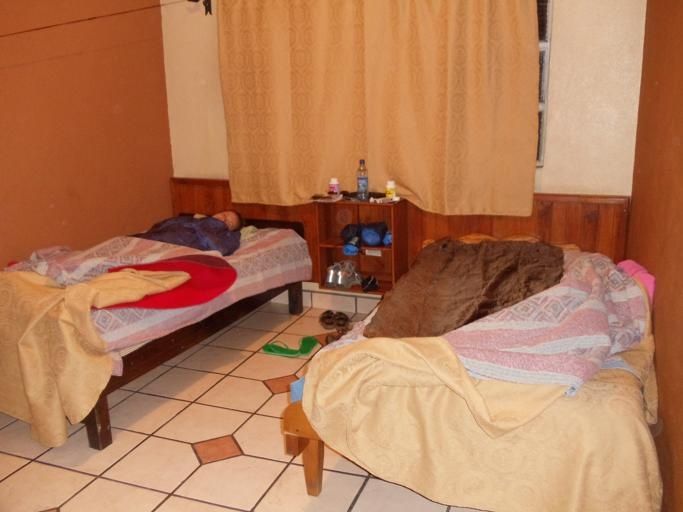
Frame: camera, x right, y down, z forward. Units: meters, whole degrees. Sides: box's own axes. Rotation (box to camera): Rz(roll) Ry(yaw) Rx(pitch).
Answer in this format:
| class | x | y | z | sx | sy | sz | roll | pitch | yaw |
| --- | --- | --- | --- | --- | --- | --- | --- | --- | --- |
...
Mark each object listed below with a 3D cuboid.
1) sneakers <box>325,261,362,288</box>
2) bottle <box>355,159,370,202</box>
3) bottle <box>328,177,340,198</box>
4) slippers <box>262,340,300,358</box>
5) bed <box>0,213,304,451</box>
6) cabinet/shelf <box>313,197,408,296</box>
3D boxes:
| class | x | y | z | sx | sy | sz | roll | pitch | yaw |
| --- | --- | --- | --- | --- | --- | --- | --- | --- | --- |
| sneakers | 0.038 | 0.155 | 4.474 | 0.255 | 0.223 | 0.224 | 3 | 7 | -3 |
| bottle | 0.178 | -0.617 | 4.286 | 0.104 | 0.305 | 0.246 | -2 | 17 | 1 |
| bottle | -0.052 | -0.566 | 4.337 | 0.093 | 0.128 | 0.129 | -2 | 16 | -1 |
| slippers | -0.452 | 0.713 | 4.040 | 0.316 | 0.135 | 0.104 | -5 | 4 | 19 |
| bed | -1.188 | 0.397 | 3.678 | 1.140 | 0.527 | 1.753 | 14 | 28 | 29 |
| cabinet/shelf | 0.183 | -0.096 | 4.378 | 0.778 | 0.737 | 0.283 | 3 | 10 | 20 |
